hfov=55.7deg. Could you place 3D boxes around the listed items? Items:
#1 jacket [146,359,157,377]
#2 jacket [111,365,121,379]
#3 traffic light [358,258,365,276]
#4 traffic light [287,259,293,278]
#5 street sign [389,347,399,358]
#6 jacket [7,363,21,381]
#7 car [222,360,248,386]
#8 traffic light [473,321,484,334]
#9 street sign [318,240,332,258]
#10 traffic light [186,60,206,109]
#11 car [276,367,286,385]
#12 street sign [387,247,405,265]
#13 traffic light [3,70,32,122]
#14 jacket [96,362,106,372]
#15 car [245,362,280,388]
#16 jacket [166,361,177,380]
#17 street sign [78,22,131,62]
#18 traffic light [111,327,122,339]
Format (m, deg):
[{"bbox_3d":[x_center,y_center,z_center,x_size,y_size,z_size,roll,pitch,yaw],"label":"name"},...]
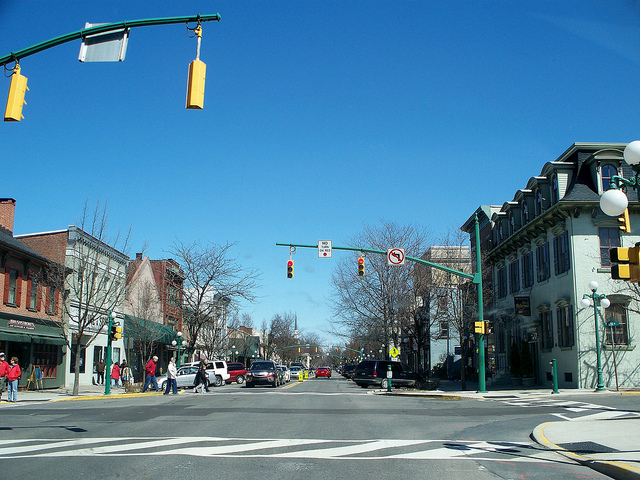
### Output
[{"bbox_3d":[-10.122,7.667,36.141,0.499,1.234,2.937,4,-18,-15],"label":"jacket"},{"bbox_3d":[-13.519,8.704,40.016,0.409,0.854,0.528,6,-17,-20],"label":"jacket"},{"bbox_3d":[1.947,1.254,28.855,0.199,0.948,0.463,1,-15,-5],"label":"traffic light"},{"bbox_3d":[-1.452,1.389,29.385,0.162,0.787,0.271,3,-15,-11],"label":"traffic light"},{"bbox_3d":[5.058,7.590,41.297,0.474,0.561,1.287,-2,-18,7],"label":"street sign"},{"bbox_3d":[-14.408,6.276,28.790,0.705,0.873,0.470,12,-33,-40],"label":"jacket"},{"bbox_3d":[-7.301,11.461,52.407,2.969,1.831,1.723,7,-12,-24],"label":"car"},{"bbox_3d":[7.811,4.269,29.831,0.622,0.724,0.498,1,-1,7],"label":"traffic light"},{"bbox_3d":[0.209,0.399,26.077,0.618,1.015,0.106,1,-12,4],"label":"street sign"},{"bbox_3d":[-2.714,-3.422,13.261,0.339,1.380,0.533,4,-16,-14],"label":"traffic light"},{"bbox_3d":[-3.273,11.242,50.549,0.826,0.934,2.071,-1,-20,0],"label":"car"},{"bbox_3d":[3.817,0.813,30.345,1.069,1.227,0.119,1,-20,1],"label":"street sign"},{"bbox_3d":[-7.008,-3.356,14.007,0.337,1.424,0.356,6,-16,-22],"label":"traffic light"},{"bbox_3d":[-15.748,9.073,43.495,0.484,0.693,1.119,5,-18,-16],"label":"jacket"},{"bbox_3d":[-4.109,9.513,43.052,2.024,1.861,1.987,1,-17,-4],"label":"car"},{"bbox_3d":[-7.996,7.036,32.668,0.336,0.790,0.945,2,-17,-9],"label":"jacket"},{"bbox_3d":[-4.788,-4.639,14.222,0.124,0.913,1.015,27,18,-17],"label":"street sign"},{"bbox_3d":[-10.558,4.781,31.366,0.658,0.779,0.390,4,-16,-16],"label":"traffic light"}]
